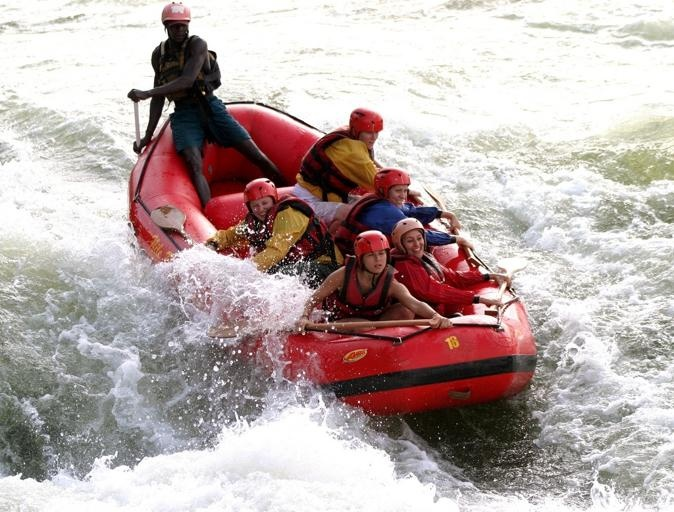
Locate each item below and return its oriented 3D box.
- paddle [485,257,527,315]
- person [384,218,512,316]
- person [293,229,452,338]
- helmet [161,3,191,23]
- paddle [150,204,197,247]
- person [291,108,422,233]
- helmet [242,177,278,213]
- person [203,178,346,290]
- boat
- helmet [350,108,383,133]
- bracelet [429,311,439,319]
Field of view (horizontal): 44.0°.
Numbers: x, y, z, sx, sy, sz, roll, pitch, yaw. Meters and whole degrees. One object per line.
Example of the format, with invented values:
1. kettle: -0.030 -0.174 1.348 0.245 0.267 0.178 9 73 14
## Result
1. paddle: 1.537 0.257 7.569 0.287 0.072 0.894 3 34 22
2. person: 0.824 0.079 7.400 1.405 0.552 0.760 10 30 14
3. person: 0.180 0.319 7.029 1.351 0.882 1.477 3 7 -21
4. helmet: -1.699 -2.508 8.728 0.272 0.215 0.282 1 36 3
5. paddle: -1.562 -0.293 7.982 0.245 0.074 0.614 -32 49 -30
6. person: 0.340 -0.766 8.232 1.684 1.243 0.718 6 27 39
7. helmet: -0.691 -0.562 7.699 0.288 0.256 0.256 1 28 1
8. person: -0.629 -0.158 7.691 1.293 0.772 0.798 -14 13 -21
9. boat: -0.683 0.043 7.984 4.953 1.090 2.473 30 44 28
10. helmet: 0.272 -1.288 8.053 0.388 0.198 0.223 -4 18 8
11. bracelet: 0.815 0.497 7.055 0.056 0.020 0.071 3 23 10
